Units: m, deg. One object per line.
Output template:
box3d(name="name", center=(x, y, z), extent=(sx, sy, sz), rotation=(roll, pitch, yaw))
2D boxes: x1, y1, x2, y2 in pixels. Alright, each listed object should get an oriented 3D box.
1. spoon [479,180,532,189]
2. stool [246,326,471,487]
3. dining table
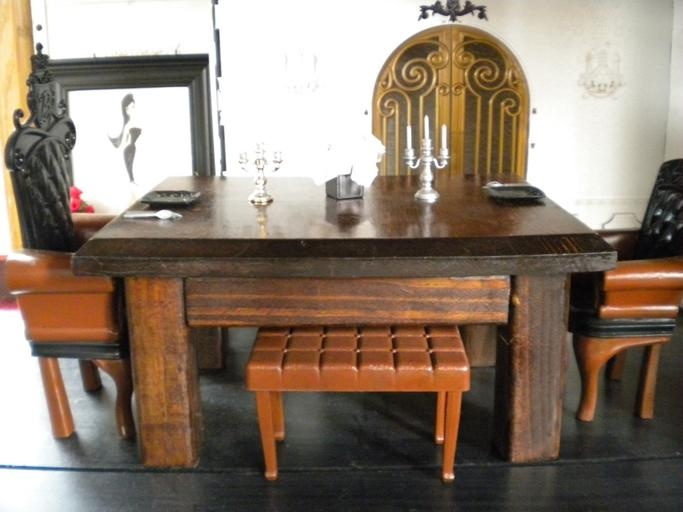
box3d(name="spoon", center=(1.014, -0.444, 4.013), extent=(0.243, 0.029, 0.127), rotation=(-1, 9, 1))
box3d(name="stool", center=(0.084, 0.736, 3.291), extent=(1.076, 0.604, 0.529), rotation=(0, 15, 0))
box3d(name="dining table", center=(-0.015, 0.501, 3.714), extent=(2.506, 1.033, 1.351), rotation=(0, 3, -2))
